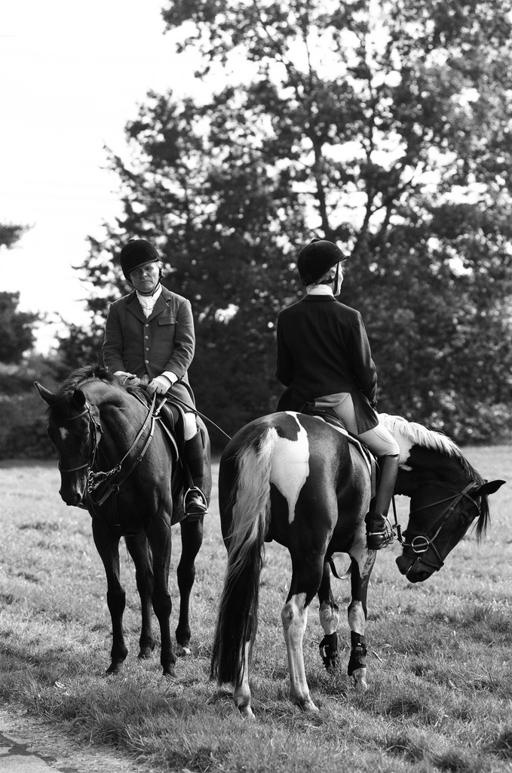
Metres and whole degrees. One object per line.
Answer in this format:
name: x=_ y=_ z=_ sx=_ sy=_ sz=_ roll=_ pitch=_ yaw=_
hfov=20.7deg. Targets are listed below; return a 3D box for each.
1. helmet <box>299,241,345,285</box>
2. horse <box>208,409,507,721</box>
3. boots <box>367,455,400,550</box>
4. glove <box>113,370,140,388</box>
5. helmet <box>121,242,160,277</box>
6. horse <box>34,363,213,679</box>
helmet: x=0.480 y=-1.060 z=12.044 sx=0.428 sy=0.271 sz=0.315 roll=-31 pitch=19 yaw=-18
horse: x=0.787 y=1.442 z=11.966 sx=1.714 sy=2.422 sz=2.757 roll=5 pitch=-1 yaw=38
boots: x=1.141 y=1.025 z=12.019 sx=0.212 sy=0.859 sz=0.318 roll=-2 pitch=-31 yaw=32
glove: x=-1.162 y=-0.045 z=12.546 sx=0.132 sy=0.082 sz=0.173 roll=9 pitch=2 yaw=-28
helmet: x=-1.085 y=-1.167 z=12.812 sx=0.259 sy=0.306 sz=0.337 roll=-27 pitch=21 yaw=19
horse: x=-1.122 y=1.178 z=12.241 sx=1.025 sy=2.618 sz=2.288 roll=5 pitch=0 yaw=17
